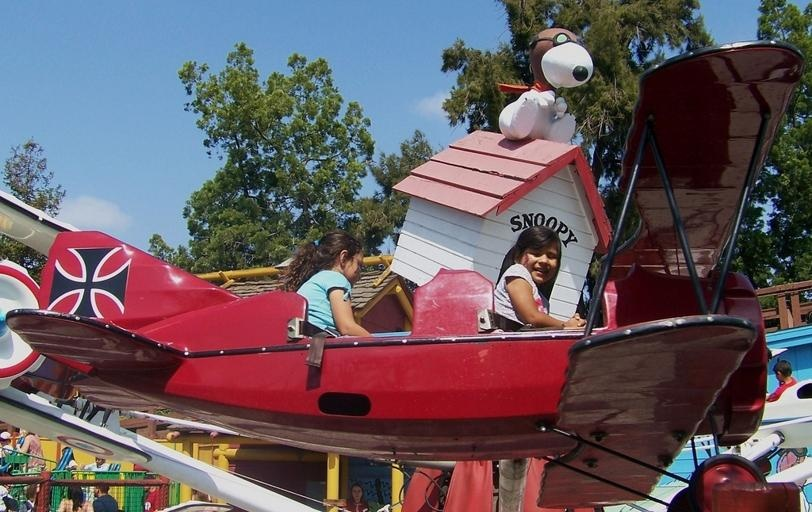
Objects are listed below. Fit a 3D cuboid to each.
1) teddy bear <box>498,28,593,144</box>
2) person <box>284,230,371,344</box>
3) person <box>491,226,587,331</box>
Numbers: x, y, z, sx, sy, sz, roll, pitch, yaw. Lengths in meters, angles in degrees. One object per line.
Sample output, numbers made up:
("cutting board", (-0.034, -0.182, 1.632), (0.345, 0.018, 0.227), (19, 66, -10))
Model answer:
("teddy bear", (1.544, -1.912, 10.362), (0.891, 1.298, 1.196), (6, 1, -38))
("person", (-0.614, 0.268, 7.855), (0.772, 0.968, 0.703), (0, -8, 0))
("person", (1.176, 0.192, 8.342), (0.721, 0.816, 0.553), (9, -35, 39))
